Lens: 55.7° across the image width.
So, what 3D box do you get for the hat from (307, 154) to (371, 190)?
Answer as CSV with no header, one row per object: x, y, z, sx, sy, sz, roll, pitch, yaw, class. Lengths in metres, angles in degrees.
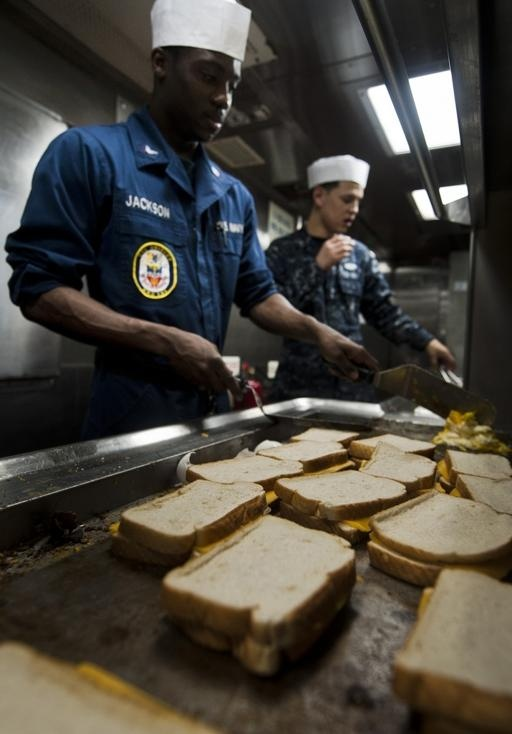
0.388,-0.913,2.308,0.248,0.094,0.192,1,1,25,hat
